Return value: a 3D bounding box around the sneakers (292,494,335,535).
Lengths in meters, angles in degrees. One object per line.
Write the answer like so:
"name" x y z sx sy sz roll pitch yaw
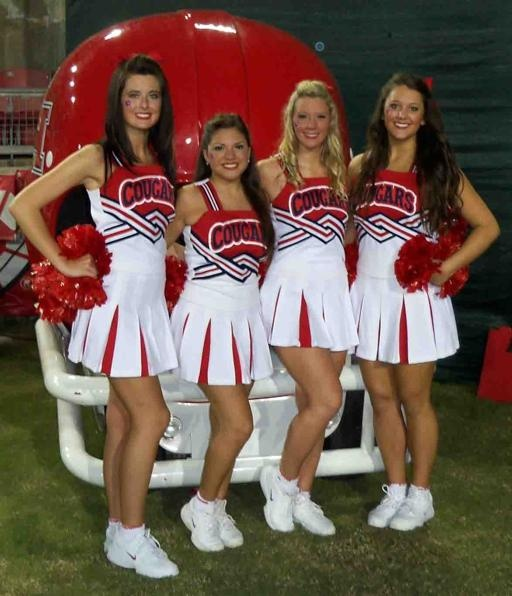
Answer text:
"sneakers" 0.179 0.688 1.834 0.160 0.069 0.058 34 35 31

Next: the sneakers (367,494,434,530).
"sneakers" 0.462 0.655 1.841 0.105 0.088 0.188 -7 -8 39

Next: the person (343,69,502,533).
"person" 0.504 0.036 1.770 0.442 1.405 0.282 1 4 6

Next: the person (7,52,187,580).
"person" -0.391 0.077 1.469 0.373 1.339 0.244 0 4 -9
